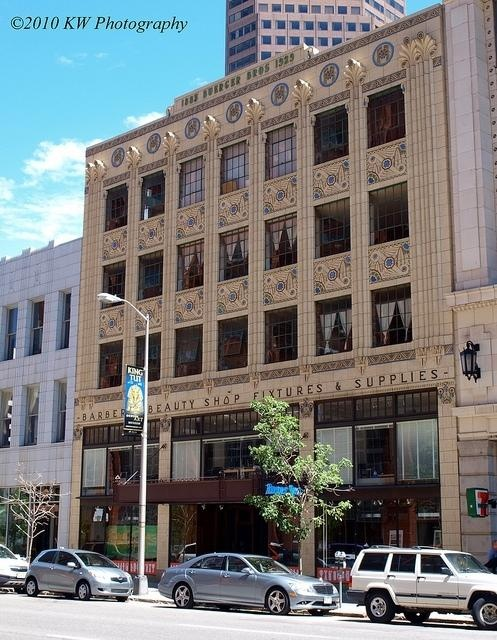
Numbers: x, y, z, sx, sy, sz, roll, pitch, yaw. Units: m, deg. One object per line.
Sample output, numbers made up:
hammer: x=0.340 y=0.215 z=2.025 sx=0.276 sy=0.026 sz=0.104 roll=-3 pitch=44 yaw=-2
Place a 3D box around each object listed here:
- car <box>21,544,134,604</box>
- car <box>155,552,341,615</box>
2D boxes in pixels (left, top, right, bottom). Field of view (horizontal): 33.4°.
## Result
car: x=-5.083 y=7.678 z=24.764 sx=3.098 sy=1.534 sz=1.324 roll=-13 pitch=-19 yaw=35
car: x=-0.072 y=6.635 z=20.819 sx=4.134 sy=1.464 sz=1.574 roll=-13 pitch=-19 yaw=35
